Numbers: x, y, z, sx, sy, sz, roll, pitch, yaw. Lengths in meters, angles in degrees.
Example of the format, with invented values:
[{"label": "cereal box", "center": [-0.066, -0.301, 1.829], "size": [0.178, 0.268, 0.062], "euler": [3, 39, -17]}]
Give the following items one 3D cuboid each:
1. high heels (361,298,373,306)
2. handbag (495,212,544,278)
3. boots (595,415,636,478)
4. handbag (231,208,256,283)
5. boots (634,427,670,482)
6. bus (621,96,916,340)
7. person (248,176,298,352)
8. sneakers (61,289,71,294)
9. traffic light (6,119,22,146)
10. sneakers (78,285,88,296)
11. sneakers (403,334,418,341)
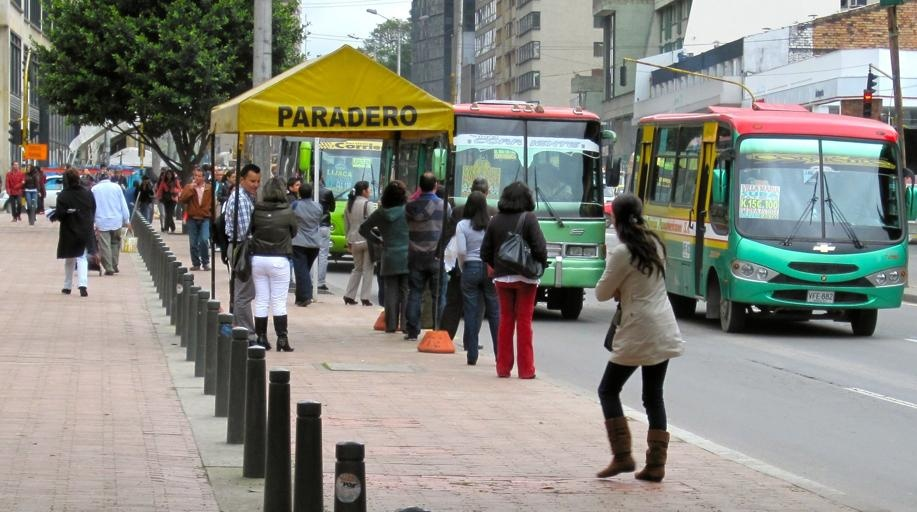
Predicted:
[{"label": "high heels", "center": [-2.000, 1.012, 21.818], "size": [0.329, 0.152, 0.101], "euler": [-7, 10, -43]}, {"label": "handbag", "center": [0.858, -0.133, 14.298], "size": [0.827, 0.927, 0.502], "euler": [12, -7, -22]}, {"label": "boots", "center": [1.695, 2.046, 10.705], "size": [0.407, 0.681, 0.271], "euler": [1, 5, 9]}, {"label": "handbag", "center": [-3.373, 0.014, 15.402], "size": [0.307, 0.806, 0.292], "euler": [-1, 5, -12]}, {"label": "boots", "center": [2.072, 2.120, 10.724], "size": [0.327, 0.573, 0.252], "euler": [1, 5, 10]}, {"label": "bus", "center": [6.052, -0.841, 20.163], "size": [3.340, 4.588, 4.994], "euler": [-4, 6, -35]}, {"label": "person", "center": [-2.927, 0.167, 15.661], "size": [0.694, 2.775, 0.700], "euler": [-1, 5, -10]}, {"label": "sneakers", "center": [-8.469, 0.772, 21.409], "size": [0.087, 0.089, 0.235], "euler": [1, 5, -29]}, {"label": "traffic light", "center": [-20.265, -5.595, 45.396], "size": [0.422, 1.079, 1.229], "euler": [-2, 5, -23]}, {"label": "sneakers", "center": [-7.996, 0.741, 21.112], "size": [0.175, 0.236, 0.398], "euler": [-2, 5, -20]}, {"label": "sneakers", "center": [-0.875, 1.453, 17.630], "size": [0.101, 0.108, 0.267], "euler": [1, 4, -13]}]
